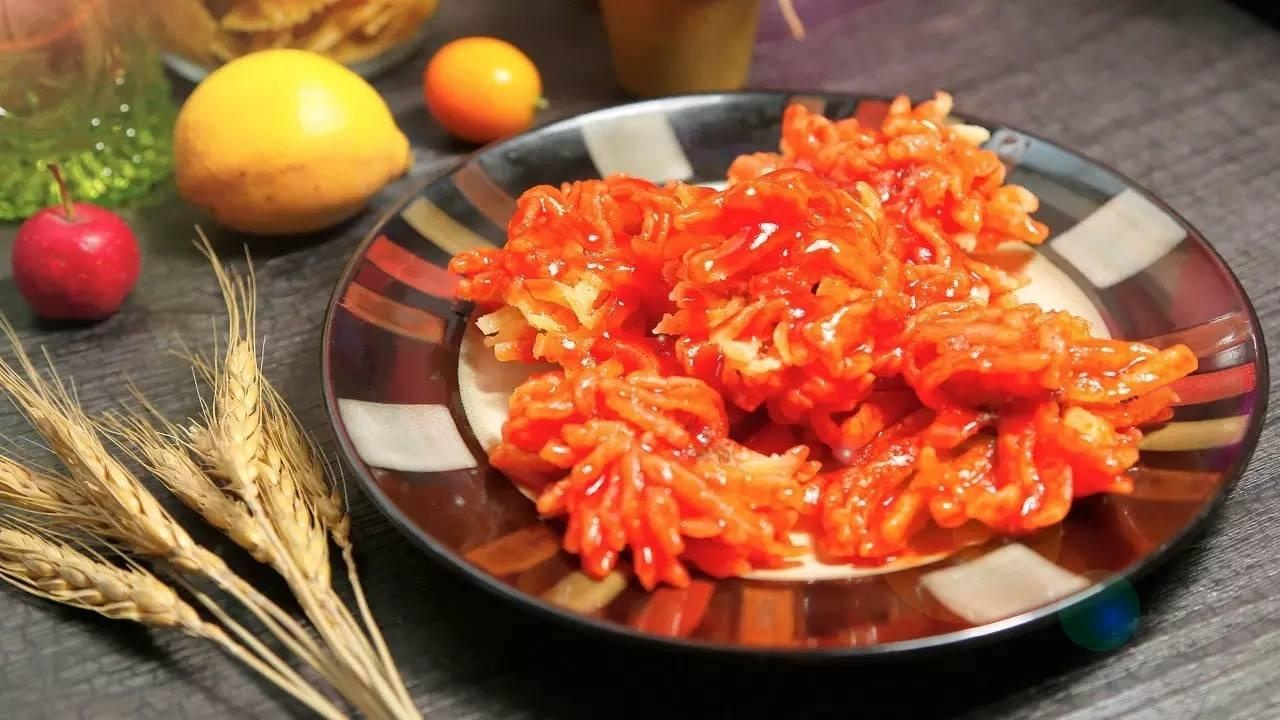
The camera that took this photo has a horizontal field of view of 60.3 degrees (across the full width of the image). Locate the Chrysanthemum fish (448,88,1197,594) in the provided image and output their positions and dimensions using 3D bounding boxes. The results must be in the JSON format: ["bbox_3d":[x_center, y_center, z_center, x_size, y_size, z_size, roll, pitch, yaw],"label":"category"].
[{"bbox_3d":[0.259,0.005,1.973,0.807,0.856,0.818,2,94,-1],"label":"Chrysanthemum fish"}]

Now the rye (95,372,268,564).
[{"bbox_3d":[-0.693,0.174,1.670,0.371,0.077,0.101,39,83,19],"label":"rye"}]
